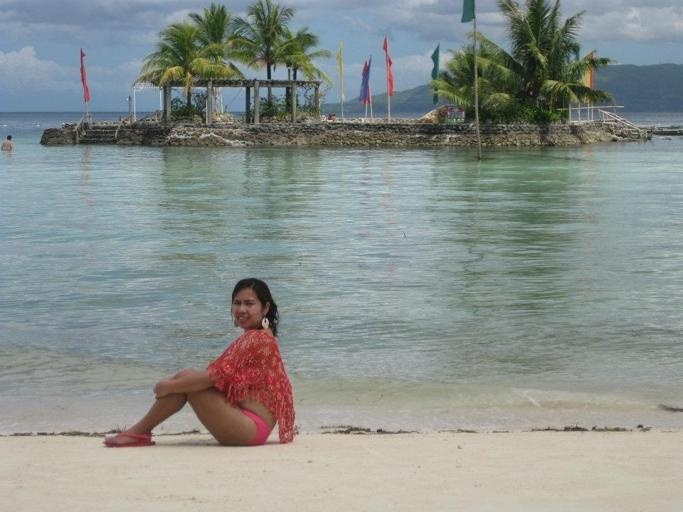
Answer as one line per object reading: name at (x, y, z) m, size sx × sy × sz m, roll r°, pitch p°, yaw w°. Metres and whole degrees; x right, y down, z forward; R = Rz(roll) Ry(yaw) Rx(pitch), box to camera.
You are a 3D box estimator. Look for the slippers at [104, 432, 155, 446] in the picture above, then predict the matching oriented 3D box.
slippers at (-2.427, 2.092, 14.488) m, size 0.394 × 0.111 × 0.208 m, roll 2°, pitch -6°, yaw -2°
